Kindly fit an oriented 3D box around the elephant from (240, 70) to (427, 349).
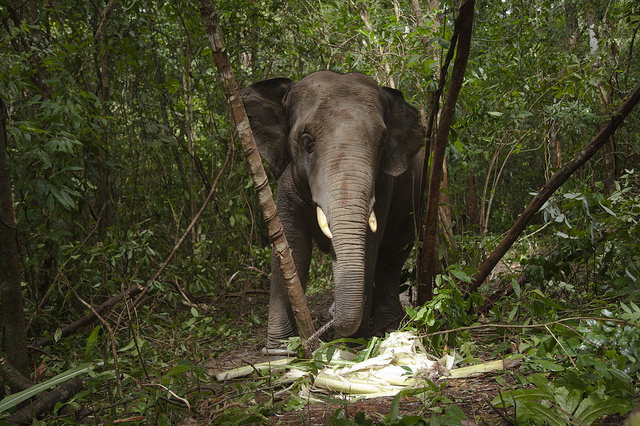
[{"bbox_3d":[0.271,0.014,4.779,1.476,2.440,1.630,-5,16,-25],"label":"elephant"}]
